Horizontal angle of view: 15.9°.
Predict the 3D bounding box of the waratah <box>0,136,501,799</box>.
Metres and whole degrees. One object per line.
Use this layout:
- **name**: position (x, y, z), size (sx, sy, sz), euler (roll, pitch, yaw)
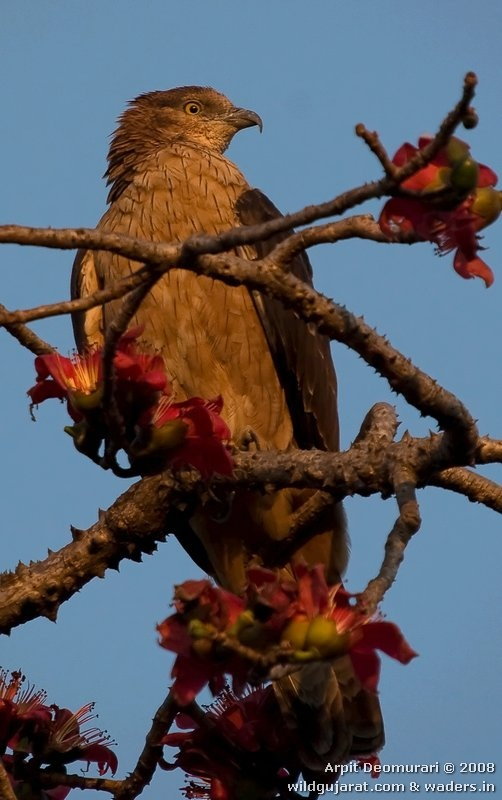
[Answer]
- **waratah**: position (0.136, 0.089, 4.572), size (1.362, 1.493, 0.410), euler (6, 53, -23)
